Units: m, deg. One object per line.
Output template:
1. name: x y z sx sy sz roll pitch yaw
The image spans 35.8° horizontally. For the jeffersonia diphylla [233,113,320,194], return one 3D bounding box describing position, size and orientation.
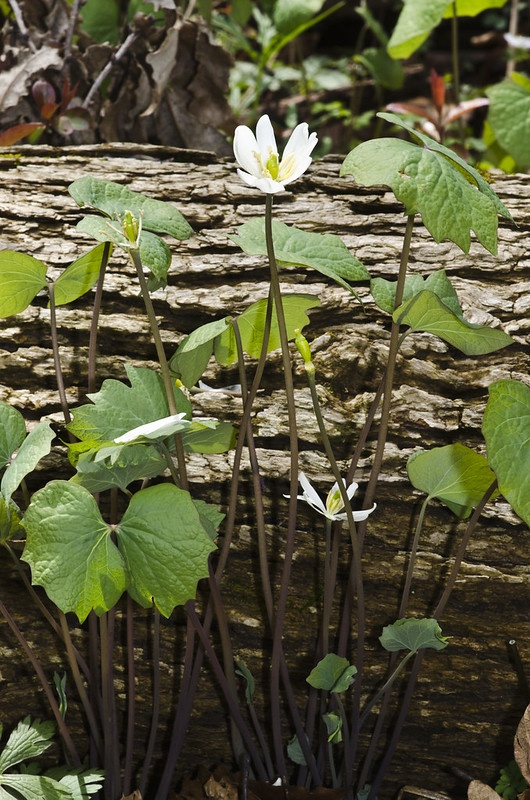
1. jeffersonia diphylla: 0.008 -0.389 1.298 0.111 0.127 0.161 9 14 30
